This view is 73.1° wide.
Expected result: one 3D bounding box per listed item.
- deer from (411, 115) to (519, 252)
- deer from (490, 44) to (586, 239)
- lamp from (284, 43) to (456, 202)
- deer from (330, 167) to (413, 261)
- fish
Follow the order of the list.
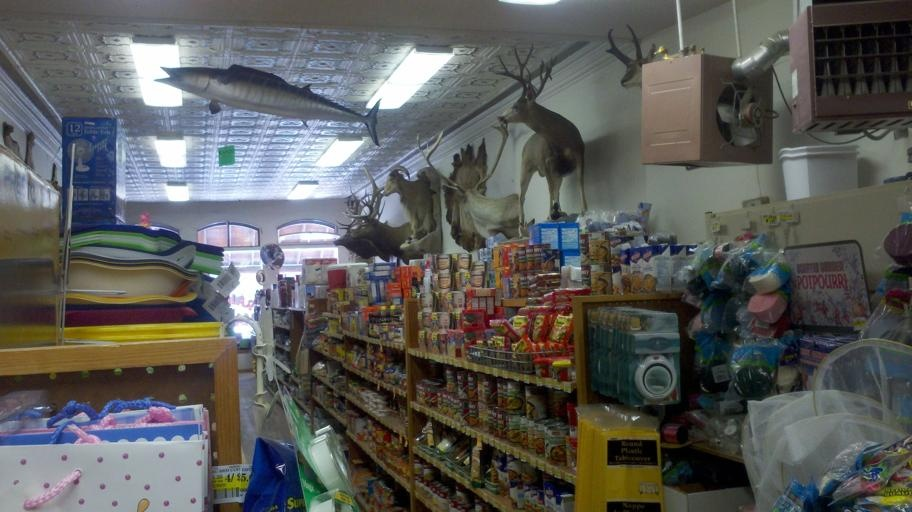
[{"bbox_3d":[0.139,-0.959,8.289,1.318,1.867,1.341,-12,25,-26],"label":"deer"},{"bbox_3d":[0.853,-1.282,6.372,0.851,1.960,0.944,-2,-2,-7],"label":"deer"},{"bbox_3d":[-1.195,-1.857,7.734,0.924,0.267,3.032,4,-26,-43],"label":"lamp"},{"bbox_3d":[-1.437,-0.502,10.209,1.400,1.801,1.713,-5,2,-16],"label":"deer"},{"bbox_3d":[-2.249,-1.831,7.391,2.674,0.674,0.645,7,-10,-35],"label":"fish"}]
